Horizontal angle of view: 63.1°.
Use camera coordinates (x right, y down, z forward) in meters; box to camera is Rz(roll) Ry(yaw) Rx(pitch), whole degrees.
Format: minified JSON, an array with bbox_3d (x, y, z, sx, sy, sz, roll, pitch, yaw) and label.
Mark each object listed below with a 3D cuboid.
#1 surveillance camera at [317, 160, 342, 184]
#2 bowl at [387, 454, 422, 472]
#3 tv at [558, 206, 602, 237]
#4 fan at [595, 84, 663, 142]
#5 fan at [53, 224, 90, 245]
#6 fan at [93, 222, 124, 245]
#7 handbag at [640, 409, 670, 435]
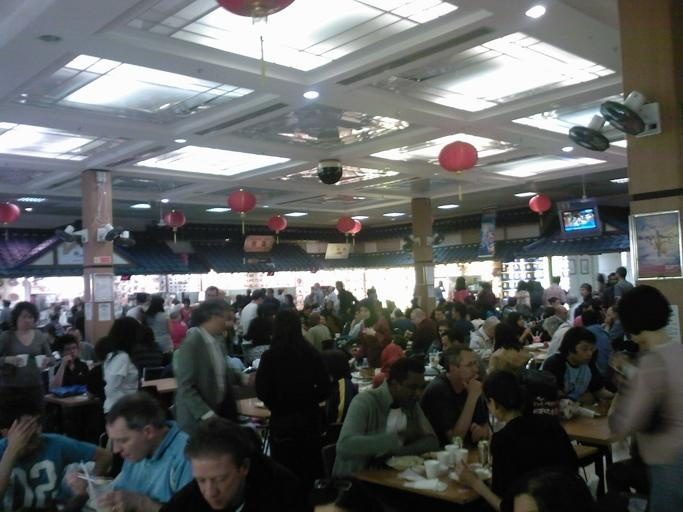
[{"bbox_3d":[-0.210,-1.586,10.416,0.415,0.424,0.352,-4,-3,3],"label":"surveillance camera"},{"bbox_3d":[0.515,1.645,4.414,0.264,0.077,0.197,-5,-4,31],"label":"bowl"},{"bbox_3d":[6.424,-0.925,14.971,1.280,1.037,0.685,0,10,29],"label":"tv"},{"bbox_3d":[2.615,-1.300,5.059,0.434,0.295,0.323,-2,-4,-16],"label":"fan"},{"bbox_3d":[-5.112,-0.394,10.583,0.544,0.314,0.530,2,0,-22],"label":"fan"},{"bbox_3d":[-4.304,-0.406,10.478,0.447,0.394,0.319,-5,-20,29],"label":"fan"},{"bbox_3d":[1.888,1.007,3.372,0.056,0.107,0.138,0,-5,-45],"label":"handbag"}]
